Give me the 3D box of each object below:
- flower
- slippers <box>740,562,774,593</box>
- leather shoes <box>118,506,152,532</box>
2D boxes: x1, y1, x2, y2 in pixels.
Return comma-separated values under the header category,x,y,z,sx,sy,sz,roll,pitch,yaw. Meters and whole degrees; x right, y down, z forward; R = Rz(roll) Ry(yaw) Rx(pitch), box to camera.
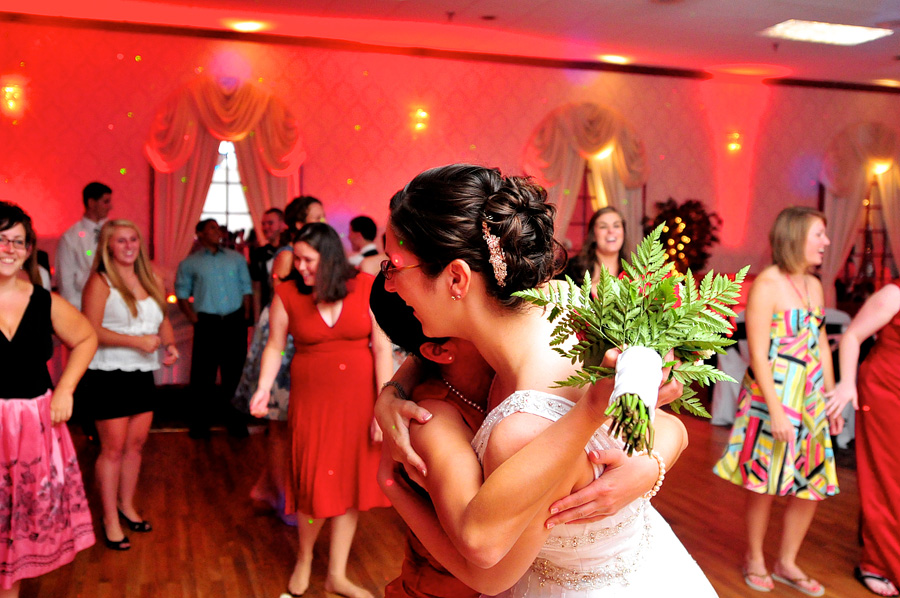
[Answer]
category,x,y,z,sx,sy,sz,roll,pitch,yaw
flower,0.499,0.124,1.845,0.538,0.667,0.547,5,10,31
slippers,1.888,1.662,3.949,0.194,0.121,0.135,0,9,-4
leather shoes,-2.188,1.534,4.567,0.298,0.095,0.111,9,8,33
